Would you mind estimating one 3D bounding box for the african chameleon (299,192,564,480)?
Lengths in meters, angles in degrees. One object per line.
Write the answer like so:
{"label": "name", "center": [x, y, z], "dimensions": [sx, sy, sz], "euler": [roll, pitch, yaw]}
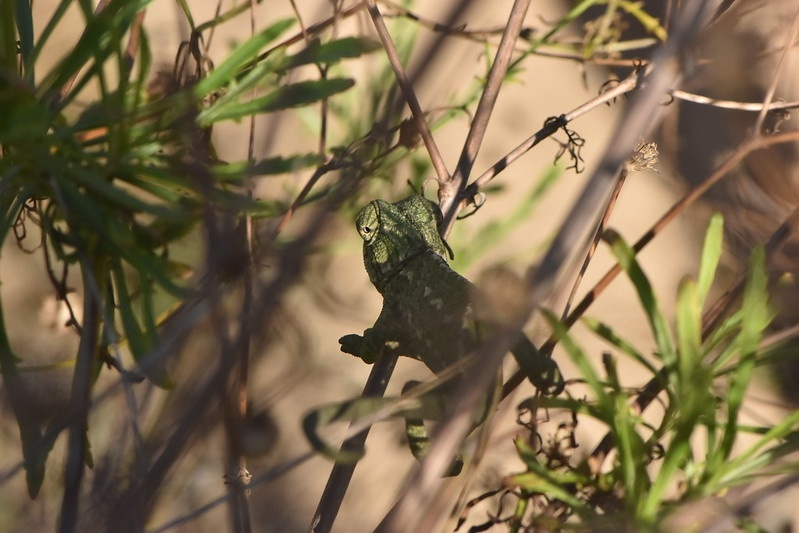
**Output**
{"label": "african chameleon", "center": [0.108, 0.108, 2.515], "dimensions": [0.519, 0.835, 0.335], "euler": [-14, -59, -14]}
